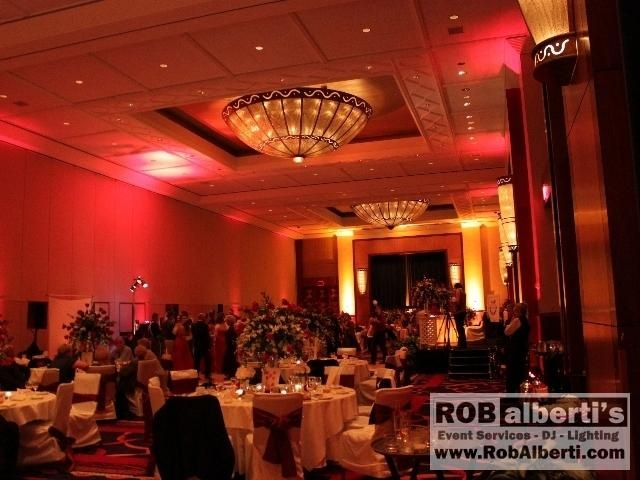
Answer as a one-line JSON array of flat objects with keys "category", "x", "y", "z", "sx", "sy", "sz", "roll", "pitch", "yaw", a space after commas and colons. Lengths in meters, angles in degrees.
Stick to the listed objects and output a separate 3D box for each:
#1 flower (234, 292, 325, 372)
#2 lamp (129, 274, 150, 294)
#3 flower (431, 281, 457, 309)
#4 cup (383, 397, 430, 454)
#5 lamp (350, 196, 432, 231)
[{"category": "flower", "x": -0.738, "y": 1.340, "z": 7.505, "sx": 1.415, "sy": 1.161, "sz": 1.422, "roll": 0, "pitch": 1, "yaw": 9}, {"category": "lamp", "x": -5.757, "y": 1.415, "z": 16.228, "sx": 0.495, "sy": 0.481, "sz": 0.163, "roll": 17, "pitch": -8, "yaw": -11}, {"category": "flower", "x": 4.044, "y": 1.816, "z": 16.924, "sx": 1.020, "sy": 0.773, "sz": 1.073, "roll": -5, "pitch": -8, "yaw": 44}, {"category": "cup", "x": 0.752, "y": 1.602, "z": 4.498, "sx": 0.371, "sy": 0.400, "sz": 0.367, "roll": -1, "pitch": -5, "yaw": 0}, {"category": "lamp", "x": 3.034, "y": -1.158, "z": 21.617, "sx": 1.710, "sy": 0.755, "sz": 1.687, "roll": 5, "pitch": -9, "yaw": -35}]
